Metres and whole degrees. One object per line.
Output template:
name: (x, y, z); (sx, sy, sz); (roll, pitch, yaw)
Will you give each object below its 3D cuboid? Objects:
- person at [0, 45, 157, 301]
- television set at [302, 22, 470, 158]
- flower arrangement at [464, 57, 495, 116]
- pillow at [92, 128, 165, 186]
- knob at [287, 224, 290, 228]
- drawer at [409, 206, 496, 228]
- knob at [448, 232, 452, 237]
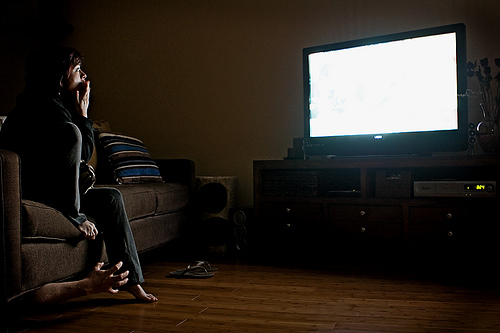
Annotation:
person: (-1.107, 0.061, 2.448); (0.809, 1.629, 0.451); (-2, 5, -16)
television set: (1.129, -0.580, 3.195); (1.226, 0.815, 0.134); (-3, -4, 20)
flower arrangement: (1.871, -0.654, 3.161); (0.202, 0.492, 0.432); (2, 5, 32)
pillow: (-1.095, -0.125, 3.438); (0.168, 0.523, 0.580); (-37, -21, 30)
knob: (0.322, 0.500, 3.315); (0.023, 0.021, 0.023); (7, -10, -8)
drawer: (1.497, 0.367, 2.900); (0.574, 0.149, 0.031); (0, 5, 16)
knob: (1.476, 0.494, 2.880); (0.023, 0.027, 0.013); (1, 5, 26)
